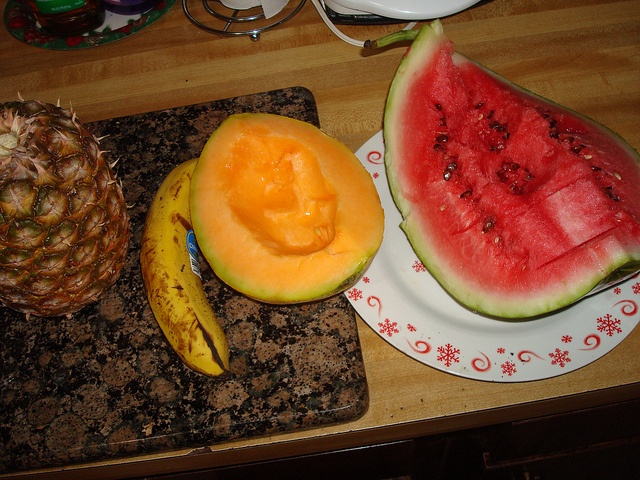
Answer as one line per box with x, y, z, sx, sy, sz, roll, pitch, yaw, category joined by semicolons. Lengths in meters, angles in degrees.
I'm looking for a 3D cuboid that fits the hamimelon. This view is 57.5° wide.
-0.066;-0.053;1.019;0.294;0.127;0.347;-31;76;-18;hamimelon
